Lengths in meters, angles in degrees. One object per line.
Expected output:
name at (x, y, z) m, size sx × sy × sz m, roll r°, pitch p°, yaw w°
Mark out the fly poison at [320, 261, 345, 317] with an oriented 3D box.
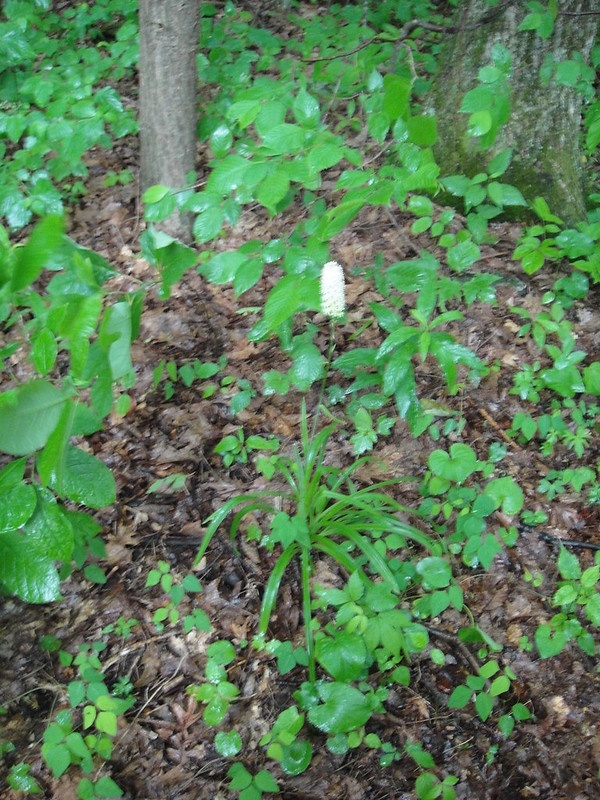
fly poison at (0.091, -0.278, 1.974) m, size 0.069 × 0.143 × 0.348 m, roll -1°, pitch 31°, yaw 2°
